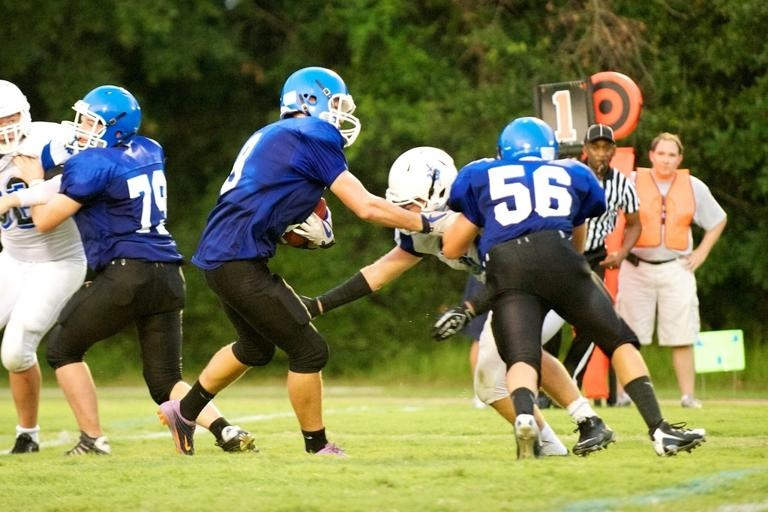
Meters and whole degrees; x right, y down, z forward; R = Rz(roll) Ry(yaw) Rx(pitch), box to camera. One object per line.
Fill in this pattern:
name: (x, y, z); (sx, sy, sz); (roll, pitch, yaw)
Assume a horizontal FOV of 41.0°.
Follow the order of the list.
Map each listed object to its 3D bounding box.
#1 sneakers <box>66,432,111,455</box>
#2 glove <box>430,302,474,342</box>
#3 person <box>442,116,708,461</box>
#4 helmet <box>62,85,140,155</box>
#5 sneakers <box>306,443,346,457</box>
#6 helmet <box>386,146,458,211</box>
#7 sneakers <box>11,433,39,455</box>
sneakers: (-2.252, 1.475, 8.049); (0.419, 0.177, 0.145); (2, -5, -1)
glove: (0.516, 0.497, 7.668); (0.321, 0.199, 0.115); (-41, -7, -19)
person: (1.176, 0.216, 7.354); (1.438, 2.426, 0.707); (-4, 5, -1)
helmet: (-2.189, -1.090, 8.151); (0.615, 0.478, 0.462); (1, 7, -10)
sneakers: (-0.397, 1.461, 7.664); (0.327, 0.131, 0.099); (-5, -4, 9)
helmet: (0.287, -0.595, 7.985); (0.565, 0.424, 0.426); (1, 6, -9)
sneakers: (-2.850, 1.498, 8.216); (0.240, 0.155, 0.119); (3, -3, 4)
